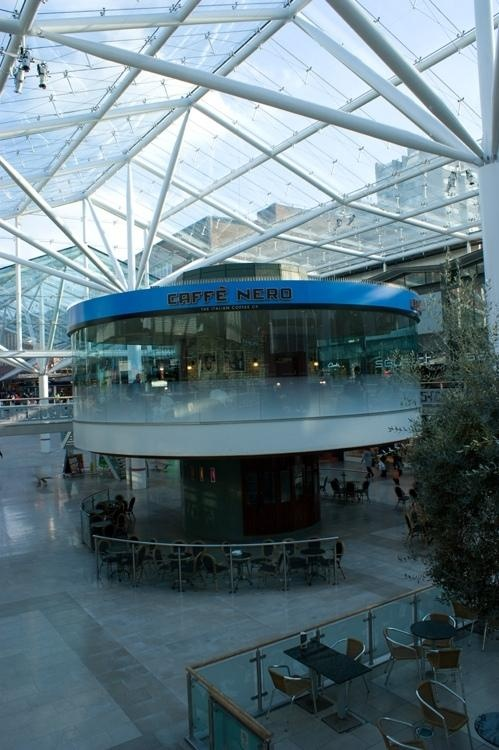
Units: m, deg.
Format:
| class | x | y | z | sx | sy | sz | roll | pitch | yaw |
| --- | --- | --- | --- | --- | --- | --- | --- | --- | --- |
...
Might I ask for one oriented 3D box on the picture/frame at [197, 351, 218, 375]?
| class | x | y | z | sx | sy | sz | roll | pitch | yaw |
| --- | --- | --- | --- | --- | --- | --- | --- | --- | --- |
| picture/frame | -1.046 | -0.310 | 15.124 | 0.587 | 0.739 | 0.055 | -1 | -8 | 4 |
